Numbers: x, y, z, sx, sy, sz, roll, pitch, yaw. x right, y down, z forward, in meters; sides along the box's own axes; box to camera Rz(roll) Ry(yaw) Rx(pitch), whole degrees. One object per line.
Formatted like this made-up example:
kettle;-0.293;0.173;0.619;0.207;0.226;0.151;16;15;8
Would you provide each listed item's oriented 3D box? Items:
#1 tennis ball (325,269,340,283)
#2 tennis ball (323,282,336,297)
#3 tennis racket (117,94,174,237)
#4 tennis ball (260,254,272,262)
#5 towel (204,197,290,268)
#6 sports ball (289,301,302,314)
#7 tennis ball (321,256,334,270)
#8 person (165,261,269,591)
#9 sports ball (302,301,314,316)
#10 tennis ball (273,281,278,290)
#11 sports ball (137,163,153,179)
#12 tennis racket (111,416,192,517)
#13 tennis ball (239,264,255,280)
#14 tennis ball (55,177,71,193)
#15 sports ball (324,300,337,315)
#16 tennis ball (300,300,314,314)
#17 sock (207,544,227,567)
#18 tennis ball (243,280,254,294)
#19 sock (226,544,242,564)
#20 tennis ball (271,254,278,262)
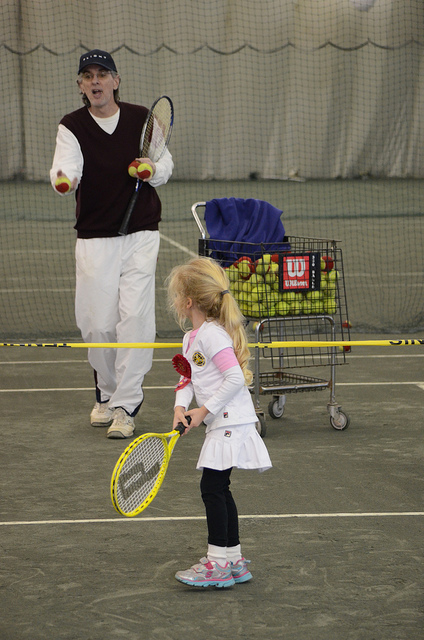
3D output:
tennis ball;0.873;-0.325;6.555;0.077;0.095;0.230;1;7;14
tennis ball;0.862;-0.220;6.496;0.076;0.101;0.145;5;8;37
tennis racket;-0.510;-1.141;6.474;0.100;1.089;0.331;15;-10;33
tennis ball;0.386;-0.429;6.246;0.052;0.051;0.035;2;7;21
towel;0.253;-0.647;6.677;0.576;0.510;0.483;0;7;-1
sports ball;0.591;-0.090;6.341;0.081;0.086;0.076;-1;4;0
tennis ball;0.832;-0.412;6.506;0.102;0.089;0.058;10;-6;-43
person;0.033;0.407;3.724;0.389;1.281;0.497;-1;7;-3
sports ball;0.682;-0.084;6.404;0.096;0.098;0.091;-2;0;0
tennis ball;0.440;-0.248;6.272;0.039;0.042;0.036;6;-21;2
sports ball;-0.443;-0.995;6.050;0.088;0.105;0.107;1;-39;-25
tennis racket;-0.277;0.706;4.300;0.062;0.202;0.595;-17;7;27
tennis ball;0.238;-0.338;6.331;0.079;0.109;0.113;-5;8;-33
tennis ball;-0.956;-0.871;5.840;0.095;0.069;0.100;0;-28;0
sports ball;0.854;-0.093;6.495;0.105;0.111;0.099;5;-1;0
tennis ball;0.676;-0.097;6.396;0.093;0.100;0.089;6;-8;1
sock;0.026;0.916;3.557;0.095;0.085;0.065;2;-5;-6
tennis ball;0.255;-0.234;6.346;0.086;0.091;0.082;-2;5;0
sock;0.090;0.937;3.646;0.028;0.078;0.105;5;9;38
tennis ball;0.438;-0.434;6.245;0.048;0.033;0.042;0;2;30
